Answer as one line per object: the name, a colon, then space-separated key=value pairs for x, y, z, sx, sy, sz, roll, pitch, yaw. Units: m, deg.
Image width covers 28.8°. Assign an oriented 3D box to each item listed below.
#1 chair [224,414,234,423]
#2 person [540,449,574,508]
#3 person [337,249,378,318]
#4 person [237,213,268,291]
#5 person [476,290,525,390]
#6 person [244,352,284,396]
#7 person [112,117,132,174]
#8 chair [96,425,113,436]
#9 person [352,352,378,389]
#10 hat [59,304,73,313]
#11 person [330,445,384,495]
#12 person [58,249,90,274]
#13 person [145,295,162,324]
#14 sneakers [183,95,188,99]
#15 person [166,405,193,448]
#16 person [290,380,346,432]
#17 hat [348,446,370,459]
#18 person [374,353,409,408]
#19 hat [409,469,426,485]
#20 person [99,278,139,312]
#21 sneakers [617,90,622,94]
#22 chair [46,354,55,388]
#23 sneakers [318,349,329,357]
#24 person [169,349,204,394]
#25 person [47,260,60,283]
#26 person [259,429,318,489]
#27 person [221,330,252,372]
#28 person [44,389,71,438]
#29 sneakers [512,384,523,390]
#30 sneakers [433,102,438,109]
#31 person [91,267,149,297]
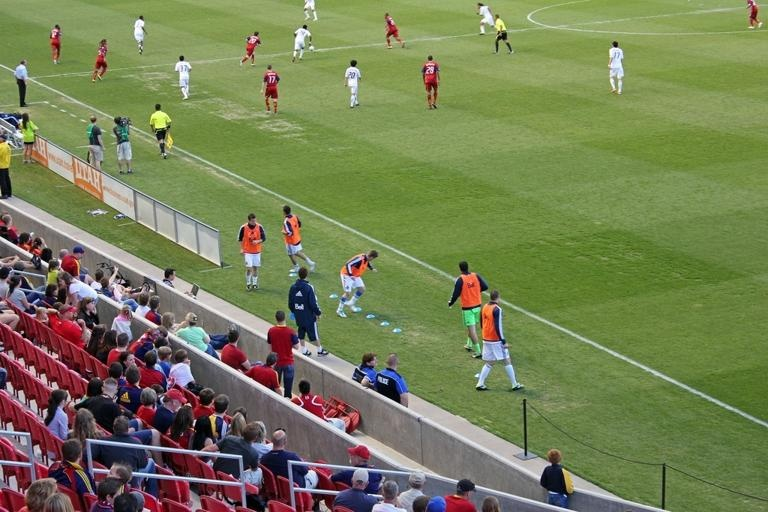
chair: x=-3.666 y=3.791 z=35.245 sx=0.253 sy=0.183 sz=0.175 roll=3 pitch=3 yaw=-7
person: x=3.992 y=5.059 z=34.330 sx=0.655 sy=1.280 sz=0.762 roll=-3 pitch=17 yaw=-22
person: x=-0.798 y=0.645 z=41.148 sx=0.973 sy=1.890 sz=0.767 roll=1 pitch=16 yaw=-9
person: x=-3.779 y=-0.218 z=42.314 sx=0.716 sy=2.161 sz=0.896 roll=2 pitch=16 yaw=-6
person: x=2.958 y=2.070 z=38.314 sx=1.061 sy=2.612 sz=0.925 roll=5 pitch=16 yaw=3
person: x=-2.944 y=2.895 z=36.828 sx=0.686 sy=1.068 sz=0.637 roll=21 pitch=36 yaw=-8
person: x=-8.525 y=-3.712 z=49.083 sx=0.583 sy=1.924 sz=1.152 roll=1 pitch=16 yaw=-9
chair: x=-6.339 y=3.933 z=33.846 sx=0.266 sy=0.276 sz=0.309 roll=1 pitch=20 yaw=-17
person: x=-0.472 y=2.855 z=37.315 sx=0.430 sy=0.644 sz=0.728 roll=-12 pitch=27 yaw=-36
hat: x=-7.902 y=1.271 z=37.264 sx=0.316 sy=0.220 sz=0.415 roll=4 pitch=14 yaw=3
person: x=-0.600 y=4.837 z=33.848 sx=0.896 sy=1.498 sz=0.936 roll=-3 pitch=33 yaw=-14
person: x=-8.291 y=0.114 z=39.883 sx=0.679 sy=0.622 sz=0.929 roll=0 pitch=15 yaw=-12
person: x=-5.903 y=1.381 z=38.238 sx=0.385 sy=0.780 sz=0.672 roll=2 pitch=15 yaw=-8
sneakers: x=-7.595 y=-6.128 z=57.237 sx=0.164 sy=0.140 sz=0.073 roll=19 pitch=49 yaw=17
person: x=-4.657 y=3.860 z=34.349 sx=0.533 sy=0.981 sz=0.454 roll=1 pitch=16 yaw=-8
person: x=-1.789 y=3.498 z=36.226 sx=0.958 sy=1.475 sz=0.469 roll=-4 pitch=54 yaw=-6
hat: x=-0.542 y=4.399 z=33.799 sx=0.447 sy=0.145 sz=0.266 roll=16 pitch=13 yaw=13
person: x=0.172 y=3.017 z=36.736 sx=0.939 sy=1.208 sz=0.515 roll=8 pitch=16 yaw=15
hat: x=0.718 y=4.864 z=32.922 sx=0.324 sy=0.274 sz=0.234 roll=2 pitch=15 yaw=-5
person: x=-6.852 y=1.045 z=39.738 sx=1.107 sy=0.390 sz=0.437 roll=17 pitch=5 yaw=-13
sneakers: x=8.808 y=-6.196 z=56.010 sx=0.177 sy=0.147 sz=0.500 roll=6 pitch=14 yaw=9
chair: x=-8.134 y=2.751 z=36.465 sx=0.141 sy=0.768 sz=0.242 roll=-6 pitch=19 yaw=-30
sneakers: x=-1.619 y=2.519 z=39.411 sx=0.303 sy=0.119 sz=0.137 roll=-4 pitch=21 yaw=-6
person: x=-4.762 y=2.789 z=36.397 sx=0.891 sy=1.068 sz=0.640 roll=-16 pitch=26 yaw=-18
person: x=-8.698 y=0.454 z=39.280 sx=0.331 sy=0.723 sz=1.460 roll=0 pitch=15 yaw=-12
person: x=-2.173 y=4.600 z=33.717 sx=1.307 sy=1.310 sz=0.690 roll=5 pitch=16 yaw=4
person: x=-3.709 y=2.361 z=37.568 sx=0.867 sy=0.915 sz=0.766 roll=15 pitch=21 yaw=17
person: x=-7.490 y=3.530 z=34.303 sx=0.558 sy=1.120 sz=0.881 roll=0 pitch=16 yaw=-12
sneakers: x=3.405 y=3.306 z=38.216 sx=0.295 sy=0.103 sz=0.103 roll=-12 pitch=26 yaw=-26
sneakers: x=1.895 y=-5.589 z=55.028 sx=0.102 sy=0.125 sz=0.302 roll=45 pitch=30 yaw=4
person: x=-7.297 y=0.698 z=40.449 sx=0.969 sy=0.500 sz=1.549 roll=14 pitch=7 yaw=28
